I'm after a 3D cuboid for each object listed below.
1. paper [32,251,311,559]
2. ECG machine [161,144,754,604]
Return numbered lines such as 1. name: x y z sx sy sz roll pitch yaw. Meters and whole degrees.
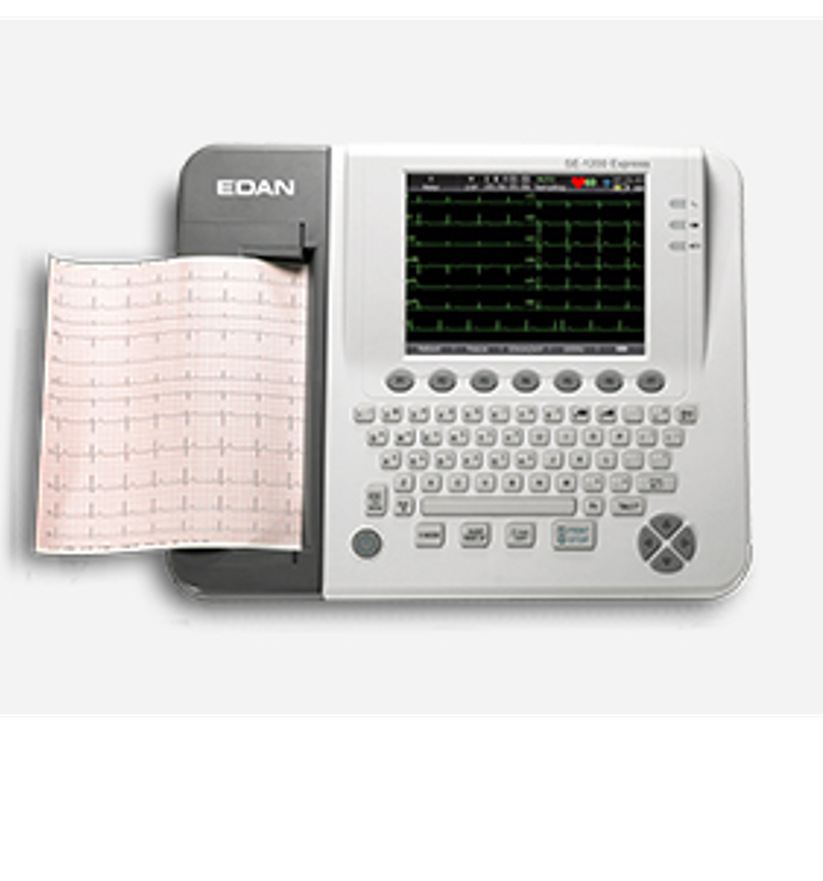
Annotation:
1. paper: -0.173 -0.020 0.848 0.243 0.191 0.051 2 -3 3
2. ECG machine: 0.012 -0.057 0.895 0.502 0.327 0.106 -4 4 -31
